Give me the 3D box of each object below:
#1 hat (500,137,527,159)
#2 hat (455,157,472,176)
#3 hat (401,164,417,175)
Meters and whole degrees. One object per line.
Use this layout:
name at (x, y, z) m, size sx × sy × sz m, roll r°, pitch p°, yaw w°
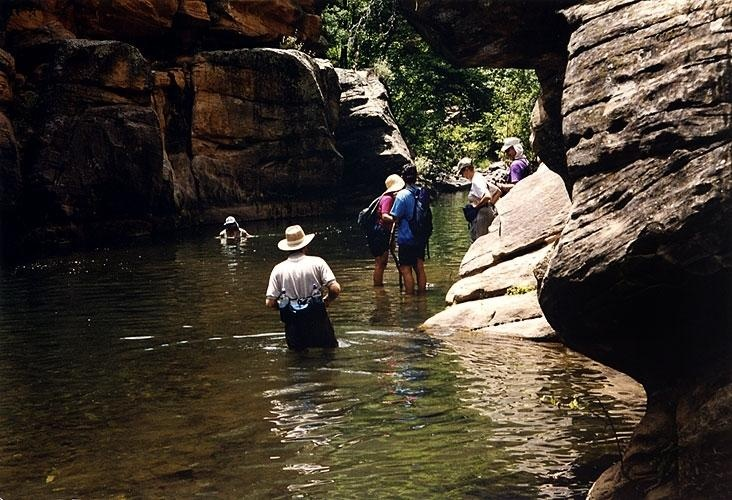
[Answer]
hat at (2.861, -1.992, 15.949) m, size 0.296 × 0.423 × 0.805 m, roll 1°, pitch 14°, yaw 18°
hat at (1.850, -1.607, 15.372) m, size 0.273 × 0.195 × 0.387 m, roll -16°, pitch -10°, yaw 22°
hat at (0.813, -1.544, 15.472) m, size 0.261 × 0.204 × 0.389 m, roll -2°, pitch 13°, yaw 3°
